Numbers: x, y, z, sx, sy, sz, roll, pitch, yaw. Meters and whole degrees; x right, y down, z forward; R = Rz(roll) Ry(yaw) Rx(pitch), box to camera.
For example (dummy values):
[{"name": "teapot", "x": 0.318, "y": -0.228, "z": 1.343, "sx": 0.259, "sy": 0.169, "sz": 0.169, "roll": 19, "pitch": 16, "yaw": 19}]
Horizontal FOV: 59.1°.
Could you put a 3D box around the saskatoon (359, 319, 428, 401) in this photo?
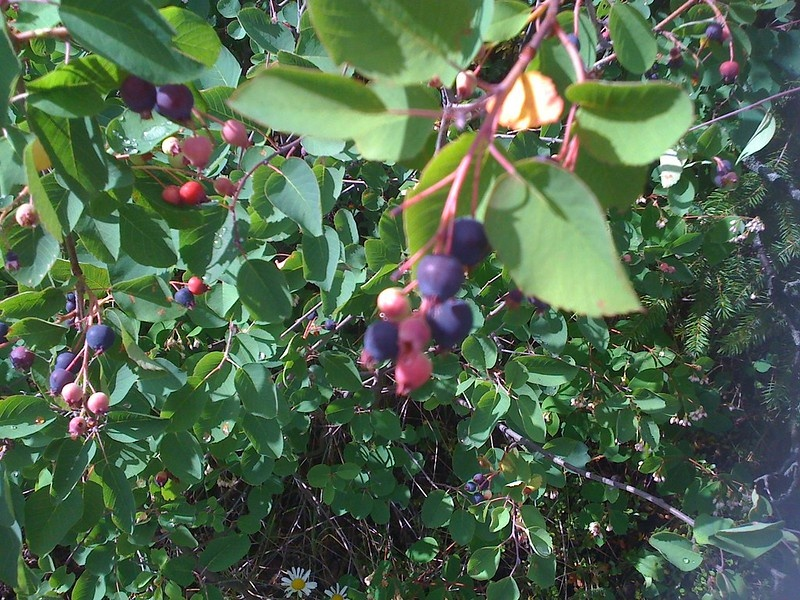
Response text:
[{"name": "saskatoon", "x": -0.005, "y": 0.161, "z": 2.078, "sx": 0.192, "sy": 0.092, "sz": 0.199, "roll": -5, "pitch": 68, "yaw": 0}]

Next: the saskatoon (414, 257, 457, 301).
[{"name": "saskatoon", "x": 0.107, "y": -0.061, "z": 2.115, "sx": 0.113, "sy": 0.111, "sz": 0.148, "roll": -13, "pitch": 98, "yaw": -28}]

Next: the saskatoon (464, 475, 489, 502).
[{"name": "saskatoon", "x": 0.462, "y": 1.119, "z": 4.186, "sx": 0.134, "sy": 0.240, "sz": 0.155, "roll": -11, "pitch": 67, "yaw": -2}]

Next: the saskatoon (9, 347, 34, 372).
[{"name": "saskatoon", "x": -1.705, "y": 0.261, "z": 3.167, "sx": 0.074, "sy": 0.109, "sz": 0.083, "roll": 12, "pitch": 37, "yaw": -12}]

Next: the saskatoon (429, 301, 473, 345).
[{"name": "saskatoon", "x": 0.151, "y": 0.059, "z": 2.099, "sx": 0.108, "sy": 0.130, "sz": 0.100, "roll": 0, "pitch": 96, "yaw": 5}]

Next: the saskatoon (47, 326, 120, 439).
[{"name": "saskatoon", "x": -1.306, "y": 0.346, "z": 2.915, "sx": 0.171, "sy": 0.266, "sz": 0.543, "roll": -23, "pitch": 63, "yaw": 38}]

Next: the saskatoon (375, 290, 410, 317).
[{"name": "saskatoon", "x": -0.019, "y": 0.009, "z": 2.152, "sx": 0.085, "sy": 0.115, "sz": 0.111, "roll": 4, "pitch": 67, "yaw": 4}]

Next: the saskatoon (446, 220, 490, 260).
[{"name": "saskatoon", "x": 0.209, "y": -0.170, "z": 2.150, "sx": 0.104, "sy": 0.111, "sz": 0.142, "roll": -18, "pitch": 85, "yaw": 12}]
